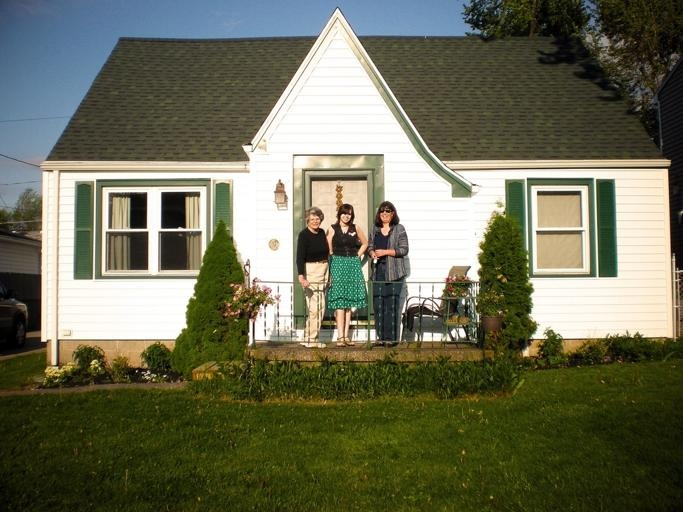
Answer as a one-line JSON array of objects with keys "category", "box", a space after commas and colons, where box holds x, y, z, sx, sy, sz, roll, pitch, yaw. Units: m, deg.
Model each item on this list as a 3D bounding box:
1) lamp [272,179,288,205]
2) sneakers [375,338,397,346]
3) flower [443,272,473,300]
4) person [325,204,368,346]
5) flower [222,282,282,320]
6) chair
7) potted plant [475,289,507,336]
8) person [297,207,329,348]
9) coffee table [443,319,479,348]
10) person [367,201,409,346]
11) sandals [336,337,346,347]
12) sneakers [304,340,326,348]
[{"category": "lamp", "box": [-1.309, -1.294, 17.526, 0.354, 0.722, 0.384, 0, -3, -6]}, {"category": "sneakers", "box": [0.835, 1.640, 16.396, 0.449, 0.221, 0.160, -6, -6, 32]}, {"category": "flower", "box": [2.283, 0.598, 16.919, 0.478, 0.378, 0.475, 3, -5, -26]}, {"category": "person", "box": [0.094, 0.351, 16.245, 0.745, 2.653, 0.355, 0, -4, 0]}, {"category": "flower", "box": [-1.782, 0.865, 16.900, 1.111, 0.733, 0.577, 0, -3, -1]}, {"category": "chair", "box": [1.948, 1.062, 17.360, 1.247, 1.838, 1.682, 1, -5, -6]}, {"category": "potted plant", "box": [2.964, 1.017, 17.031, 0.612, 0.901, 0.777, -3, 2, 20]}, {"category": "person", "box": [-0.559, 0.390, 16.284, 0.612, 2.638, 0.401, 1, -4, -11]}, {"category": "coffee table", "box": [2.363, 1.491, 17.153, 0.632, 0.535, 0.955, 0, -3, 8]}, {"category": "person", "box": [0.866, 0.310, 16.414, 0.722, 2.720, 0.517, 0, -4, 2]}, {"category": "sandals", "box": [-0.012, 1.608, 16.272, 0.152, 0.099, 0.285, 1, -5, -6]}, {"category": "sneakers", "box": [-0.509, 1.657, 16.305, 0.420, 0.225, 0.155, -1, -3, 7]}]
